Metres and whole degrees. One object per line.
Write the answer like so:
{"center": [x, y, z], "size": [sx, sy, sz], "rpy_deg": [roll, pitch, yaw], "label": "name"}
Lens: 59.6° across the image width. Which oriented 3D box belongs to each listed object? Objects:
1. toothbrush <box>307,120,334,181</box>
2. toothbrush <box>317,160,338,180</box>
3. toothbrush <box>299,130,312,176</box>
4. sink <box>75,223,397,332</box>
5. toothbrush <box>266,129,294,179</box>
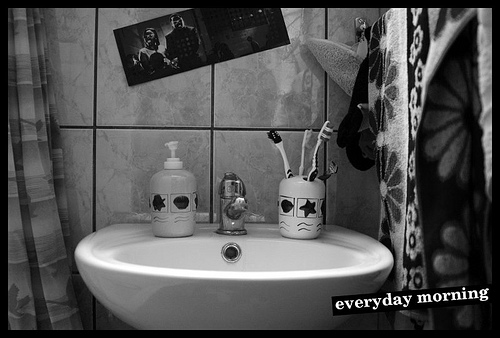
{"center": [0.187, -0.054, 1.164], "size": [0.022, 0.241, 0.043], "rpy_deg": [0, 19, -34], "label": "toothbrush"}
{"center": [0.219, 0.004, 1.184], "size": [0.072, 0.026, 0.041], "rpy_deg": [-30, 28, 1], "label": "toothbrush"}
{"center": [0.152, -0.057, 1.211], "size": [0.023, 0.148, 0.013], "rpy_deg": [6, -4, 2], "label": "toothbrush"}
{"center": [-0.038, 0.260, 1.069], "size": [0.731, 0.199, 0.464], "rpy_deg": [1, -1, -7], "label": "sink"}
{"center": [0.093, -0.014, 1.225], "size": [0.034, 0.228, 0.023], "rpy_deg": [-15, 35, 11], "label": "toothbrush"}
